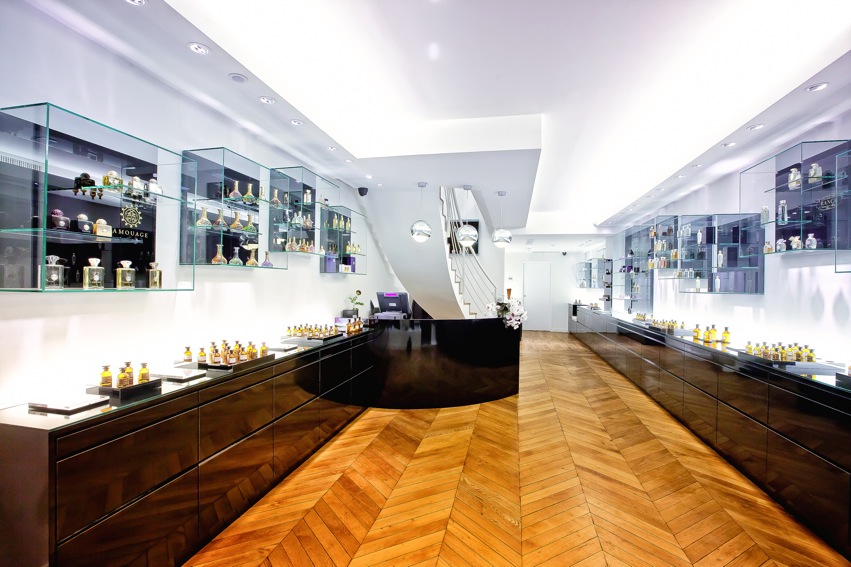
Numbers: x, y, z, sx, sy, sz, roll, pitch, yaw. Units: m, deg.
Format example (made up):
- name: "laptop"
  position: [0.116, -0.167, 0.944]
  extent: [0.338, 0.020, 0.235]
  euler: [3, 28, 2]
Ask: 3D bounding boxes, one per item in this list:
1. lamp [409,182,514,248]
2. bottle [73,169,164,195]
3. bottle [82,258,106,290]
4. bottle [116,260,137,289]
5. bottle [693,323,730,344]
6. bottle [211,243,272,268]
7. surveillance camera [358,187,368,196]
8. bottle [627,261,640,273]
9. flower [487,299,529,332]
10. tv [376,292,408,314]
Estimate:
- name: "lamp"
  position: [0.669, -1.217, 9.320]
  extent: [1.764, 1.738, 0.393]
  euler: [1, -18, -4]
- name: "bottle"
  position: [-2.742, -0.886, 4.629]
  extent: [0.154, 0.224, 0.709]
  euler: [10, 18, 32]
- name: "bottle"
  position: [-2.882, -0.083, 4.490]
  extent: [0.109, 0.257, 0.195]
  euler: [4, 16, 13]
- name: "bottle"
  position: [-2.722, -0.071, 4.683]
  extent: [0.122, 0.254, 0.189]
  euler: [13, 20, 39]
- name: "bottle"
  position: [3.945, 0.731, 7.094]
  extent: [0.322, 0.189, 0.317]
  euler: [2, -8, 0]
- name: "bottle"
  position: [-2.047, -0.297, 5.777]
  extent: [0.164, 0.197, 0.614]
  euler: [-4, -6, 27]
- name: "surveillance camera"
  position: [-1.010, -1.510, 8.536]
  extent: [0.127, 0.105, 0.133]
  euler: [-2, -1, 11]
- name: "bottle"
  position: [4.196, -0.294, 10.285]
  extent: [0.305, 0.157, 0.290]
  euler: [5, 5, 0]
- name: "flower"
  position: [1.365, 0.555, 8.271]
  extent: [0.428, 0.531, 0.393]
  euler: [1, 15, 2]
- name: "tv"
  position: [-0.511, 0.343, 8.729]
  extent: [0.615, 0.310, 0.572]
  euler: [2, 4, -1]
